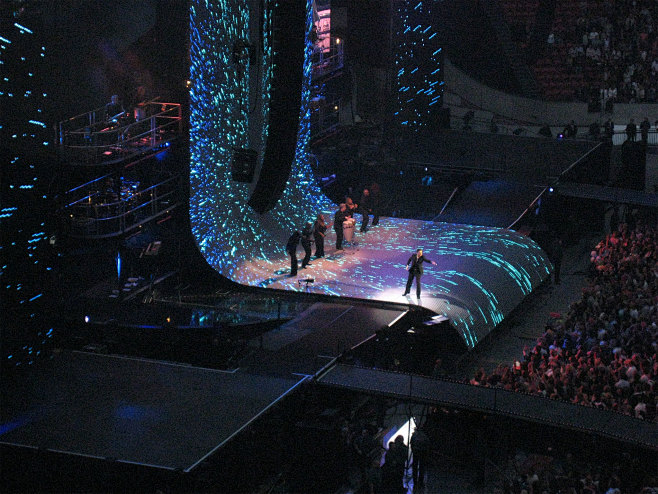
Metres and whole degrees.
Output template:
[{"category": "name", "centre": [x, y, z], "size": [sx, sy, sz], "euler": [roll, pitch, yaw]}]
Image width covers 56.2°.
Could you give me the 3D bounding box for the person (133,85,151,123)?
[{"category": "person", "centre": [-5.000, -3.798, 16.305], "size": [0.359, 0.893, 0.880], "euler": [-3, 15, -17]}]

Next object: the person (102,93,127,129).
[{"category": "person", "centre": [-5.792, -3.686, 16.588], "size": [0.606, 0.984, 0.303], "euler": [-1, -18, -4]}]

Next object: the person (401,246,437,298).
[{"category": "person", "centre": [2.181, 0.663, 14.964], "size": [0.922, 1.390, 0.533], "euler": [8, -5, 14]}]

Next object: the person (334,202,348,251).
[{"category": "person", "centre": [0.313, -0.607, 17.544], "size": [0.336, 1.316, 0.569], "euler": [2, 14, 3]}]

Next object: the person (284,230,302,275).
[{"category": "person", "centre": [-0.916, 0.102, 15.758], "size": [0.370, 1.083, 0.985], "euler": [1, 14, -4]}]

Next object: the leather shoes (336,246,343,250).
[{"category": "leather shoes", "centre": [0.286, 0.021, 17.498], "size": [0.113, 0.083, 0.117], "euler": [8, 13, 33]}]

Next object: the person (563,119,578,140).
[{"category": "person", "centre": [10.634, -5.175, 27.219], "size": [0.512, 0.746, 0.913], "euler": [6, 15, 17]}]
